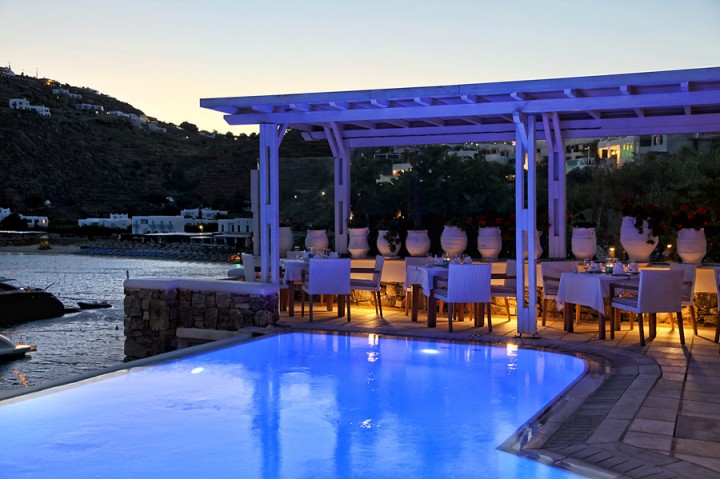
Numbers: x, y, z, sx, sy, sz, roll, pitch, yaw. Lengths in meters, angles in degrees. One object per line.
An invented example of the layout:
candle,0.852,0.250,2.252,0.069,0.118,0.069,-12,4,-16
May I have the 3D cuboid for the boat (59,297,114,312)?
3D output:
boat,-13.714,3.273,35.057,2.135,0.342,4.955,2,-2,-24
